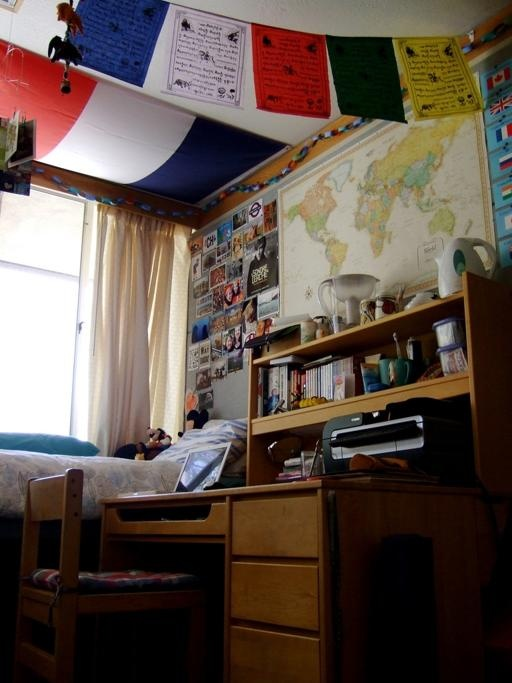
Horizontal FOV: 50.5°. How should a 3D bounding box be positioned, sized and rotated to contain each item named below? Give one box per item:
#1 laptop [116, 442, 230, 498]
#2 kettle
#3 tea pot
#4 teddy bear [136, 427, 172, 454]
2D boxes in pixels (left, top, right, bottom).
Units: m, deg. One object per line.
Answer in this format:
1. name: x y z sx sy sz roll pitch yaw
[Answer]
1. laptop: -0.286 0.476 2.112 0.307 0.189 0.412 6 -8 -36
2. kettle: 0.679 -0.212 1.830 0.191 0.270 0.203 1 -3 -38
3. tea pot: 0.394 -0.132 2.397 0.191 0.285 0.229 6 -4 -37
4. teddy bear: -0.666 0.619 3.469 0.239 0.150 0.181 -9 7 -25
